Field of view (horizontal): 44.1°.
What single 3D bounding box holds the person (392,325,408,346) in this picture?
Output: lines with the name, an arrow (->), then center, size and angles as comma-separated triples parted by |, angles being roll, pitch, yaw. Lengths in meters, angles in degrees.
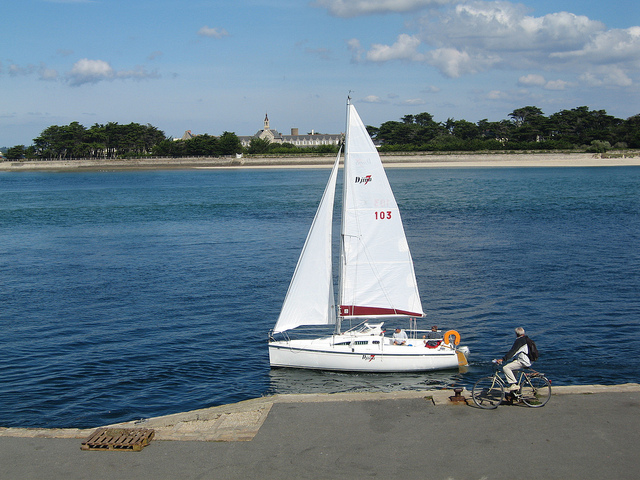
person -> 3.805, 4.617, 38.012 | 0.759, 0.739, 0.667 | -17, -26, 30

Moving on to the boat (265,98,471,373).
boat -> 1.896, 0.035, 36.021 | 9.135, 12.439, 2.154 | -2, 14, 7

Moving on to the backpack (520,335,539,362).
backpack -> 7.663, 4.010, 29.143 | 0.532, 0.901, 0.396 | -3, 13, 5
